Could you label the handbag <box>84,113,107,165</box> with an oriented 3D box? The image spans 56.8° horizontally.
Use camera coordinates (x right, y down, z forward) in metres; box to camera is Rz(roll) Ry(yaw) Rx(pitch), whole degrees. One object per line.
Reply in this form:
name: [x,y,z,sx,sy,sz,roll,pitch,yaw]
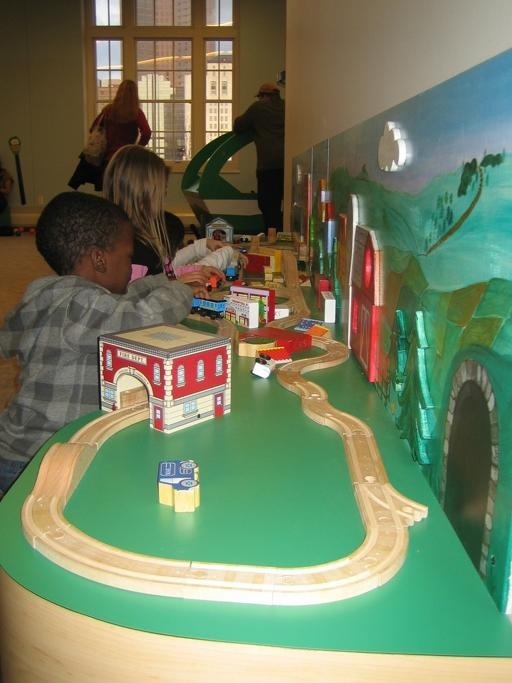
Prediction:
handbag: [-1.590,-1.969,4.651,0.184,0.480,0.303,-5,11,-32]
